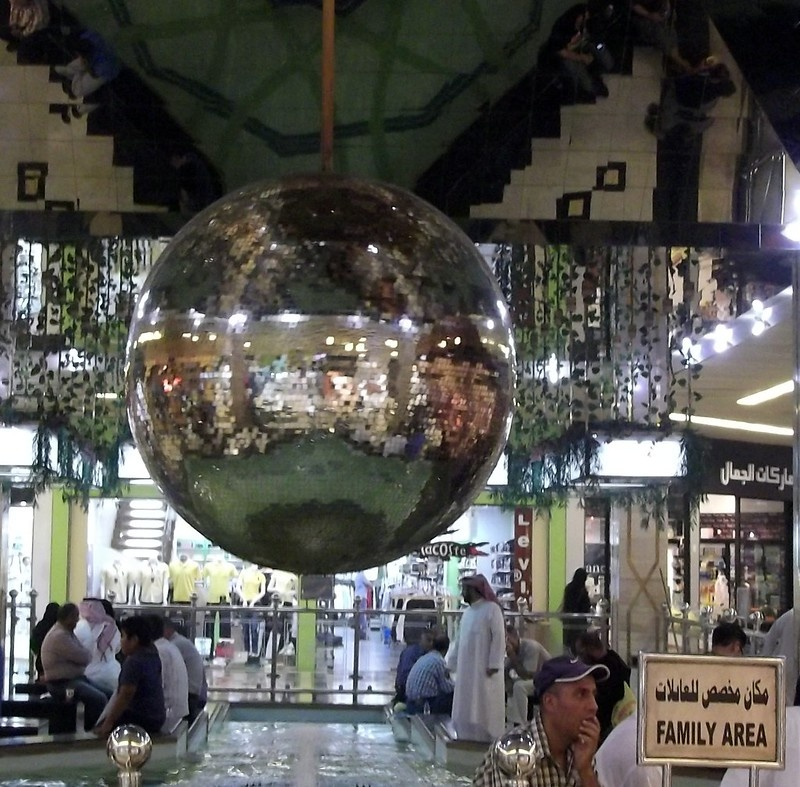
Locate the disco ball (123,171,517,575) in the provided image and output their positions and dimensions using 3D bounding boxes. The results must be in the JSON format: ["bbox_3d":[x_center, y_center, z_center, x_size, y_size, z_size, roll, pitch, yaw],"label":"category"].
[{"bbox_3d":[-0.149,-0.045,1.560,0.445,0.563,0.500,-1,2,8],"label":"disco ball"}]

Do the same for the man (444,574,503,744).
[{"bbox_3d":[0.502,1.836,7.777,0.378,1.105,0.262,5,5,23],"label":"man"}]

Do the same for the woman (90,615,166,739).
[{"bbox_3d":[-1.613,1.712,6.695,0.418,0.731,0.478,4,-9,-15],"label":"woman"}]

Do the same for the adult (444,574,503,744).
[{"bbox_3d":[0.506,1.828,7.785,0.405,1.146,0.251,5,8,22],"label":"adult"}]

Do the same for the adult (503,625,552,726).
[{"bbox_3d":[0.982,2.211,8.576,0.414,0.759,0.360,-3,-9,-11],"label":"adult"}]

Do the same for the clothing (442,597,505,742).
[{"bbox_3d":[0.522,1.950,7.755,0.361,0.988,0.299,-8,-31,21],"label":"clothing"}]

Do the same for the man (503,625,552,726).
[{"bbox_3d":[0.967,2.196,8.610,0.397,0.754,0.335,-2,-4,-20],"label":"man"}]

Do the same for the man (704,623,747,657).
[{"bbox_3d":[1.755,1.296,5.859,0.157,0.160,0.665,-1,-11,17],"label":"man"}]

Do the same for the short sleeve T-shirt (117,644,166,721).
[{"bbox_3d":[-1.568,1.799,6.752,0.253,0.522,0.430,0,-7,14],"label":"short sleeve T-shirt"}]

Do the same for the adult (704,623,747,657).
[{"bbox_3d":[1.756,1.298,5.868,0.155,0.160,0.684,-1,-11,17],"label":"adult"}]

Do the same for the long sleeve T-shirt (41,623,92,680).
[{"bbox_3d":[-2.373,1.764,7.880,0.325,0.510,0.383,-1,0,-15],"label":"long sleeve T-shirt"}]

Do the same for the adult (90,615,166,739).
[{"bbox_3d":[-1.633,1.739,6.760,0.348,0.745,0.467,-2,-8,1],"label":"adult"}]

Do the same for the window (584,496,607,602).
[{"bbox_3d":[2.709,2.150,15.102,0.337,1.154,0.751,0,-9,10],"label":"window"}]

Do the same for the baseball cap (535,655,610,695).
[{"bbox_3d":[0.526,0.867,3.456,0.229,0.126,0.165,-18,-14,24],"label":"baseball cap"}]

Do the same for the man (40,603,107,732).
[{"bbox_3d":[-2.291,1.960,7.825,0.425,0.990,0.394,0,5,6],"label":"man"}]

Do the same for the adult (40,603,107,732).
[{"bbox_3d":[-2.299,1.954,7.828,0.409,0.989,0.376,-2,5,-12],"label":"adult"}]

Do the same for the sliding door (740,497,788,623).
[{"bbox_3d":[5.338,2.394,16.036,0.718,1.646,0.961,-1,-9,19],"label":"sliding door"}]

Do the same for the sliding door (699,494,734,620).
[{"bbox_3d":[4.705,2.329,16.265,0.528,1.646,0.907,-1,-9,17],"label":"sliding door"}]
